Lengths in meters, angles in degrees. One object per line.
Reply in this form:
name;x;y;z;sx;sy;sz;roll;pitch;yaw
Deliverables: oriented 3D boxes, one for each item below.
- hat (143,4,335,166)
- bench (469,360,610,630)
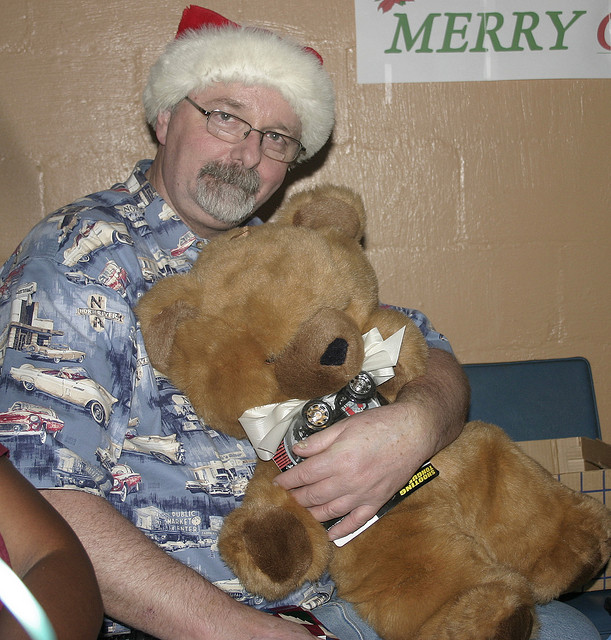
hat;-0.170;-0.562;1.798;0.384;0.198;0.410;17;1;-8
bench;0.680;0.474;2.275;0.553;0.305;0.601;-3;76;-1
